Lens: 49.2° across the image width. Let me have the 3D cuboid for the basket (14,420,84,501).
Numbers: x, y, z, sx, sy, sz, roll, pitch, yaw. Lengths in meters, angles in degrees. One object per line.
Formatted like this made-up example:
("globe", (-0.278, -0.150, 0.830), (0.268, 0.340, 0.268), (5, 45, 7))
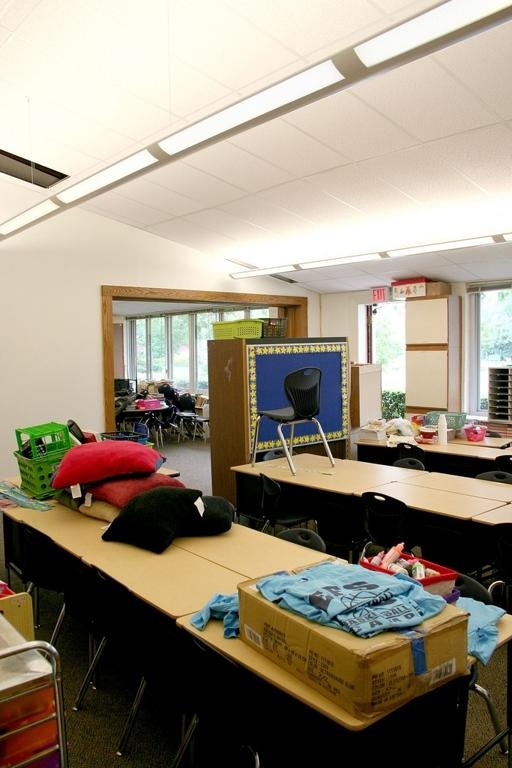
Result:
("basket", (-1.478, 0.490, 3.820), (0.401, 0.510, 0.513), (3, 9, 19))

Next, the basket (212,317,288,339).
("basket", (-0.075, -0.598, 6.053), (0.819, 0.214, 0.657), (0, 5, -1))

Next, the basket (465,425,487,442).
("basket", (2.319, 0.519, 5.882), (0.173, 0.109, 0.169), (1, -7, -17))

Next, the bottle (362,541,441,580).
("bottle", (0.470, 0.593, 1.872), (0.110, 0.063, 0.178), (-3, -4, -25))

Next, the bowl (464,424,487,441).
("bowl", (2.311, 0.509, 5.928), (0.179, 0.113, 0.175), (-1, -6, 0))

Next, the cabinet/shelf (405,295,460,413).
("cabinet/shelf", (2.361, -0.372, 7.523), (0.702, 1.582, 0.379), (1, 5, 10))

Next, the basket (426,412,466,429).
("basket", (2.108, 0.386, 6.185), (0.214, 0.101, 0.285), (-2, 4, -41))

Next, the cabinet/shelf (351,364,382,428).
("cabinet/shelf", (1.408, 0.143, 7.139), (0.545, 0.788, 0.168), (-4, 6, -37))
